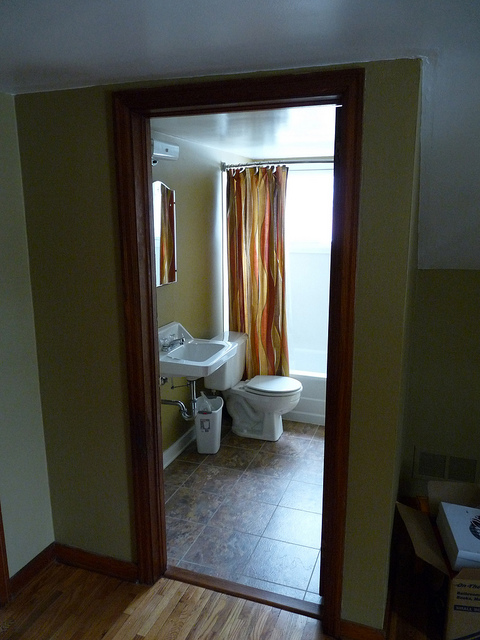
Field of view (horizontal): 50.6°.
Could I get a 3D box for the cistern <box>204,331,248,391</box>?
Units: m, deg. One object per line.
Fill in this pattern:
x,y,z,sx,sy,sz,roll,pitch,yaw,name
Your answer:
-0.106,0.321,3.665,0.221,0.455,0.299,4,12,8,cistern

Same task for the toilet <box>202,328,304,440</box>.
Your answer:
0.107,0.479,3.755,0.593,0.812,0.395,4,17,19,toilet

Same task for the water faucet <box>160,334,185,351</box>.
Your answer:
-0.418,0.131,3.139,0.054,0.085,0.242,2,15,22,water faucet
